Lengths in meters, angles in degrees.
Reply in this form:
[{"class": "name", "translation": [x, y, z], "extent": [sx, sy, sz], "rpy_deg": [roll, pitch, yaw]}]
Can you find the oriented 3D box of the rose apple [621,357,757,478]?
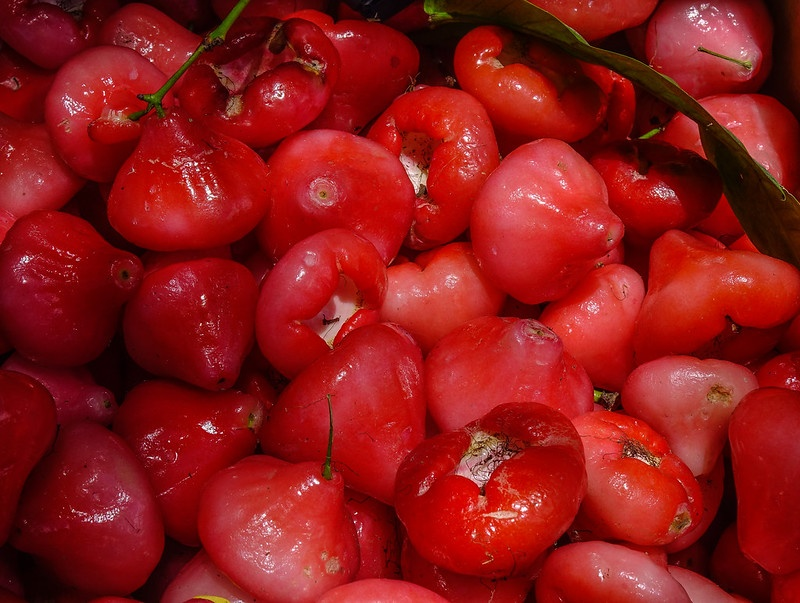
[{"class": "rose apple", "translation": [0.311, 0.101, 0.988], "extent": [0.114, 0.122, 0.135], "rpy_deg": [-8, 94, -20]}]
